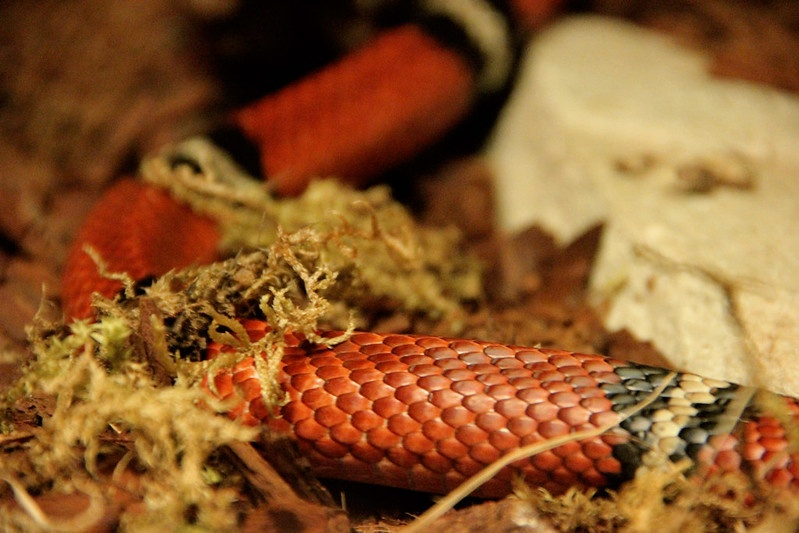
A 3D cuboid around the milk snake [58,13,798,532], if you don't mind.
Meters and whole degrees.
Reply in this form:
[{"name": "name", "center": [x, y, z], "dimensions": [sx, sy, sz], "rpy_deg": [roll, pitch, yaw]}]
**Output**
[{"name": "milk snake", "center": [-0.009, 0.100, 1.563], "dimensions": [0.921, 0.258, 1.221], "rpy_deg": [-34, 70, -20]}]
